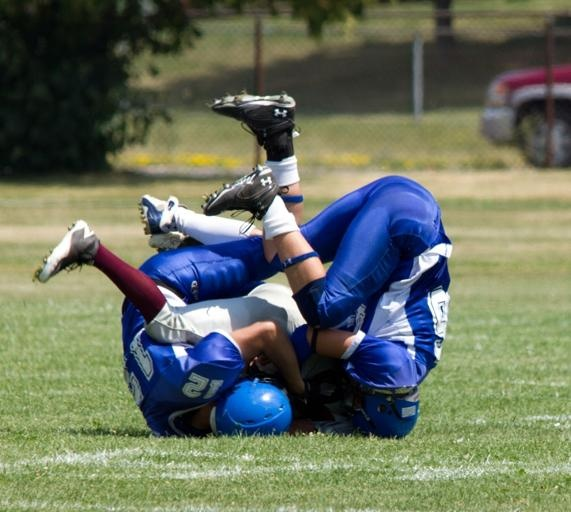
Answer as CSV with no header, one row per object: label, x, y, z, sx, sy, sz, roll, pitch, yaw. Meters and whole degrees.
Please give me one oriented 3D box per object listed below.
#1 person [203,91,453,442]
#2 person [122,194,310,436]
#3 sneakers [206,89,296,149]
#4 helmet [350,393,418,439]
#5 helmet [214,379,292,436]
person,0.331,0.044,7.320,0.995,1.847,1.352,-19,-20,4
person,-0.417,0.324,7.069,0.556,1.197,0.966,6,-9,10
sneakers,-0.183,-0.769,7.334,0.433,0.248,0.277,4,-2,6
helmet,0.532,0.839,6.920,0.305,0.255,0.227,5,1,15
helmet,-0.076,0.826,6.922,0.280,0.272,0.355,4,8,3
